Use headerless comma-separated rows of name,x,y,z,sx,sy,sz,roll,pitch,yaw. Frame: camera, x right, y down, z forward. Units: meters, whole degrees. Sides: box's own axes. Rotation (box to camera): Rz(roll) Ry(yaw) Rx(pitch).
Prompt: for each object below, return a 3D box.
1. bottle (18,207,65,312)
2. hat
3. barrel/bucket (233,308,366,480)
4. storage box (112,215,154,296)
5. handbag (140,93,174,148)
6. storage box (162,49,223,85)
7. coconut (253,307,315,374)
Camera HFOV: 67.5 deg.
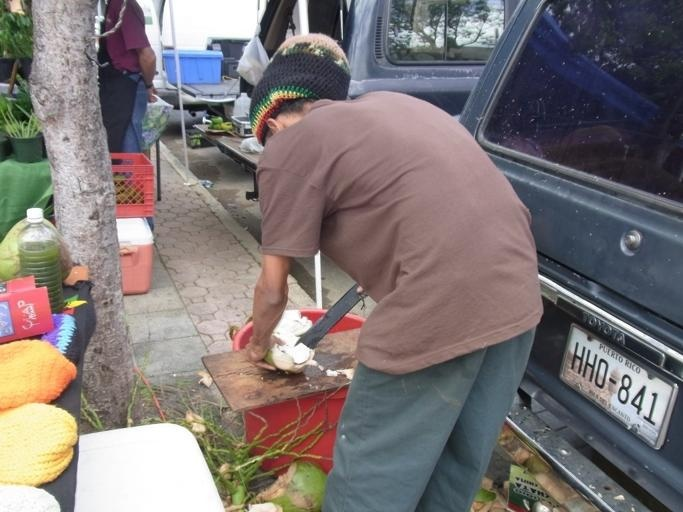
bottle,-1.105,0.008,1.870,0.148,0.321,0.411,-9,33,-29
hat,-0.132,-0.614,1.939,0.288,0.387,0.281,5,-23,41
barrel/bucket,-0.305,0.597,2.589,0.716,0.554,0.687,-2,12,0
storage box,-1.663,0.051,4.151,0.237,0.619,0.408,-5,31,-23
handbag,-2.057,-1.472,5.698,0.297,0.573,0.336,-1,24,-15
storage box,-2.976,-3.788,10.239,1.354,0.927,0.944,-6,18,-19
coconut,-0.236,0.408,2.441,0.209,0.134,0.284,-21,43,11
